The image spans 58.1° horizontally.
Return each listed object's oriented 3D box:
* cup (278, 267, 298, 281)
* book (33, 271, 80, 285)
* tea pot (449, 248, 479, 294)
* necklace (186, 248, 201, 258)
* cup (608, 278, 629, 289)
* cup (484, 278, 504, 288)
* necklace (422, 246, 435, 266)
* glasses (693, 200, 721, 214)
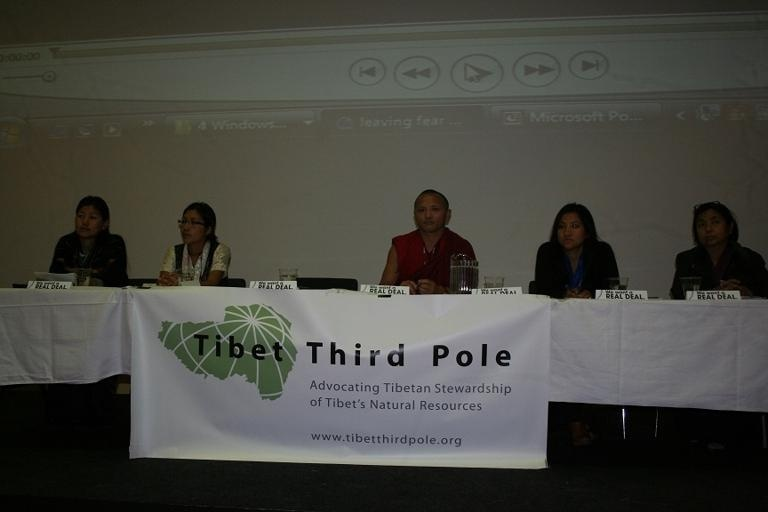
[{"bbox_3d":[-0.567,0.108,4.074,0.095,0.078,0.088,1,0,0],"label":"cup"},{"bbox_3d":[-1.894,0.123,3.988,0.161,0.064,0.138,2,-6,-28],"label":"book"},{"bbox_3d":[0.439,0.097,4.103,0.203,0.282,0.218,1,0,0],"label":"tea pot"},{"bbox_3d":[-1.351,-0.020,4.887,0.067,0.093,0.048,2,28,4],"label":"necklace"},{"bbox_3d":[1.392,0.164,4.113,0.093,0.080,0.104,0,-8,12],"label":"cup"},{"bbox_3d":[0.658,0.160,4.121,0.093,0.110,0.094,0,-3,0],"label":"cup"},{"bbox_3d":[0.307,0.006,4.767,0.110,0.110,0.031,-2,-12,5],"label":"necklace"},{"bbox_3d":[2.286,-0.346,4.875,0.142,0.106,0.147,1,-12,15],"label":"glasses"}]
